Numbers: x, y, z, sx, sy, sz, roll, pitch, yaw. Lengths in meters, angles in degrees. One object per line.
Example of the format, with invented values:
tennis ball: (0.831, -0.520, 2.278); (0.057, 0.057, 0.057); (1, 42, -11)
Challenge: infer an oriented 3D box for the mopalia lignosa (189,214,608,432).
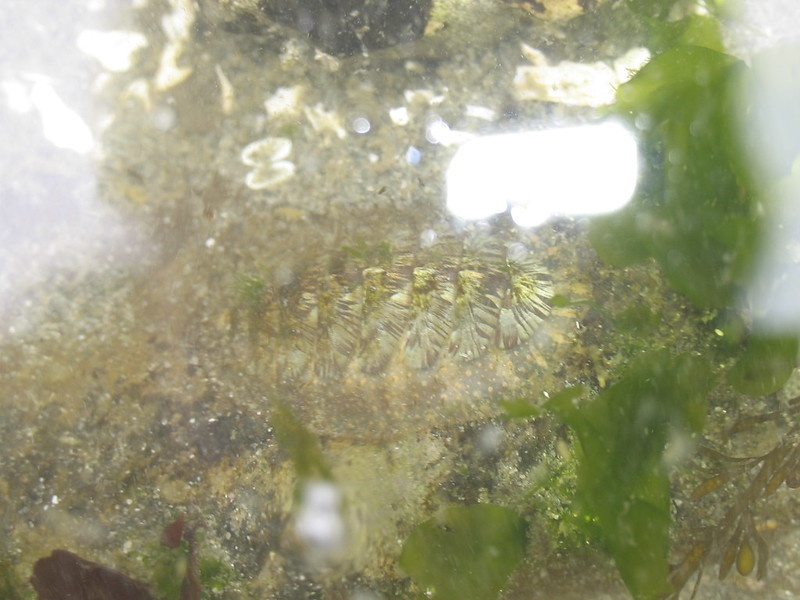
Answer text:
mopalia lignosa: (-0.027, 0.046, 2.736); (1.035, 0.501, 0.377); (-9, 37, 8)
